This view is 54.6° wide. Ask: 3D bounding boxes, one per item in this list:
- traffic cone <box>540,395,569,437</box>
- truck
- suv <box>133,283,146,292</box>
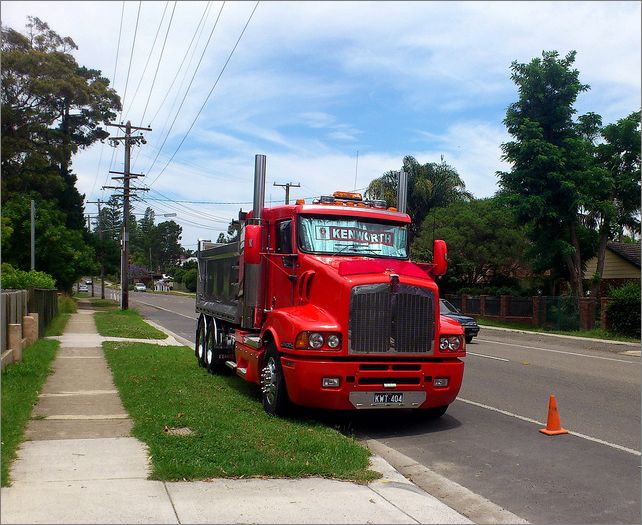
[{"bbox_3d":[3.568,2.336,9.521,0.368,0.518,0.399,-3,-6,-6],"label":"traffic cone"},{"bbox_3d":[-0.561,0.425,13.428,3.227,4.820,9.509,4,-4,-20],"label":"truck"},{"bbox_3d":[-29.221,3.890,98.720,1.130,0.999,2.613,0,-5,-22],"label":"suv"}]
